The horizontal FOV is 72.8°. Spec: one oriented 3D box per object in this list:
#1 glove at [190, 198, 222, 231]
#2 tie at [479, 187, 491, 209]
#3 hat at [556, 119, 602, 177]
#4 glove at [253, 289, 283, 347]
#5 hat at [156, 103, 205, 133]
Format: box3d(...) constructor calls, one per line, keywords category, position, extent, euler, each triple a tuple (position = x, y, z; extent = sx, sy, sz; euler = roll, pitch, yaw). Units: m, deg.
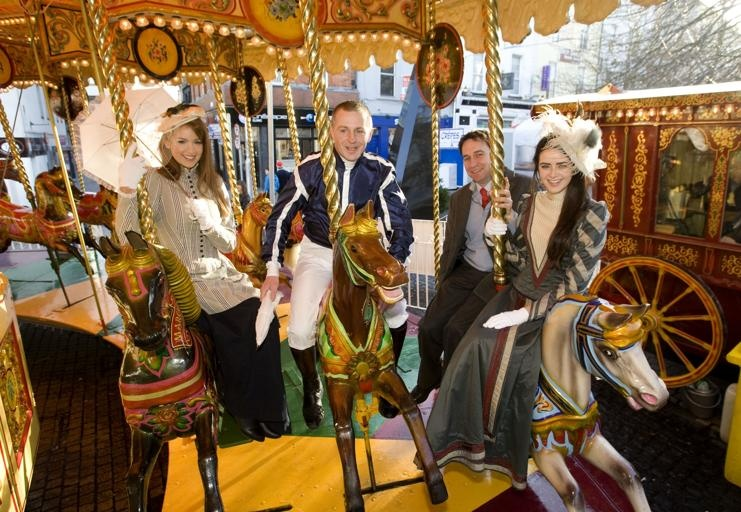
box3d(category="glove", position=(-1.384, -0.385, 4.318), extent=(0.207, 0.272, 0.339), euler=(1, 19, 8))
box3d(category="tie", position=(1.081, -0.548, 4.789), extent=(0.120, 0.182, 0.049), euler=(0, 8, 22))
box3d(category="hat", position=(1.584, -0.812, 3.843), extent=(0.302, 0.443, 0.211), euler=(-13, 21, -29))
box3d(category="glove", position=(-0.843, 0.517, 4.074), extent=(0.131, 0.437, 0.260), euler=(20, 11, 41))
box3d(category="hat", position=(-1.605, -1.163, 4.279), extent=(0.397, 0.231, 0.293), euler=(-9, 20, -20))
